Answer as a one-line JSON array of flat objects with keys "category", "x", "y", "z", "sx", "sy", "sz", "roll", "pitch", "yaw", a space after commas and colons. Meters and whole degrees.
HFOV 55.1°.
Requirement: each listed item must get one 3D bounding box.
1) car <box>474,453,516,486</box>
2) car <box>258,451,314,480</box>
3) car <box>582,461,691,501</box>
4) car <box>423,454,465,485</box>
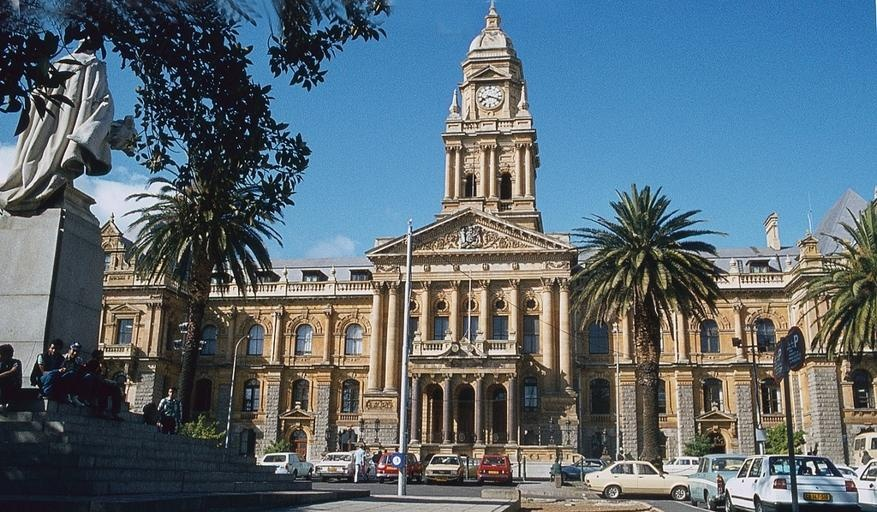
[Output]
[{"category": "car", "x": 3.616, "y": 13.865, "z": 54.611, "sx": 2.105, "sy": 1.849, "sz": 2.310, "roll": 0, "pitch": -18, "yaw": 1}, {"category": "car", "x": -9.712, "y": 13.465, "z": 54.395, "sx": 2.539, "sy": 1.703, "sz": 3.516, "roll": -2, "pitch": -18, "yaw": 7}, {"category": "car", "x": 10.786, "y": 12.365, "z": 46.197, "sx": 4.729, "sy": 1.509, "sz": 2.174, "roll": -1, "pitch": -13, "yaw": 4}, {"category": "car", "x": 0.410, "y": 13.477, "z": 53.319, "sx": 2.393, "sy": 1.831, "sz": 1.959, "roll": 1, "pitch": -18, "yaw": -1}]
